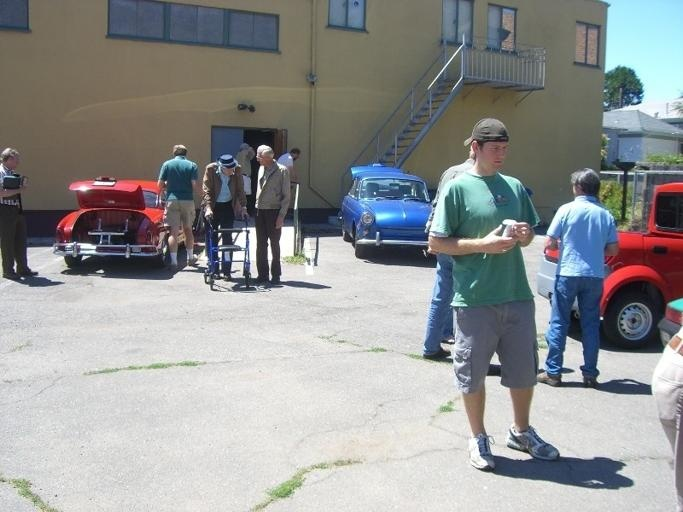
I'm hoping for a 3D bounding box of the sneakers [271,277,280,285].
[{"bbox_3d":[-1.118,0.416,10.255,0.161,0.111,0.272,0,9,-7],"label":"sneakers"}]

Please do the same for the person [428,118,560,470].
[{"bbox_3d":[1.099,0.260,4.455,0.920,2.504,0.608,2,8,9],"label":"person"}]

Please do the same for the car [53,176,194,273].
[{"bbox_3d":[-4.184,-0.686,11.306,1.230,1.104,2.259,1,12,-5],"label":"car"}]

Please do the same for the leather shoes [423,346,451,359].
[{"bbox_3d":[1.046,1.056,6.589,0.317,0.158,0.124,-2,5,-25],"label":"leather shoes"}]

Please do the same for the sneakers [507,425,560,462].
[{"bbox_3d":[1.436,1.429,4.630,0.426,0.226,0.169,18,17,37],"label":"sneakers"}]

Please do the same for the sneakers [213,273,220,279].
[{"bbox_3d":[-2.181,0.354,10.536,0.113,0.092,0.117,0,9,1],"label":"sneakers"}]

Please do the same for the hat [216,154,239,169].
[{"bbox_3d":[-2.002,-1.642,10.535,0.346,0.204,0.454,0,9,-11],"label":"hat"}]

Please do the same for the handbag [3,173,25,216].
[{"bbox_3d":[-5.220,-0.969,9.650,0.248,0.649,0.472,0,8,-8],"label":"handbag"}]

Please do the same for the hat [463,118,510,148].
[{"bbox_3d":[1.033,-0.925,4.528,0.313,0.255,0.425,-11,15,-39],"label":"hat"}]

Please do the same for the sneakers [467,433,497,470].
[{"bbox_3d":[1.012,1.429,4.332,0.106,0.149,0.303,0,0,1],"label":"sneakers"}]

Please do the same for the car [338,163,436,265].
[{"bbox_3d":[0.938,-0.954,13.616,1.952,1.852,3.004,1,9,-1],"label":"car"}]

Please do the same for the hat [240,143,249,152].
[{"bbox_3d":[-2.661,-2.967,16.511,0.203,0.123,0.320,1,16,-3],"label":"hat"}]

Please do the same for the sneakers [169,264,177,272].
[{"bbox_3d":[-3.154,0.243,11.239,0.100,0.121,0.113,-2,0,-14],"label":"sneakers"}]
